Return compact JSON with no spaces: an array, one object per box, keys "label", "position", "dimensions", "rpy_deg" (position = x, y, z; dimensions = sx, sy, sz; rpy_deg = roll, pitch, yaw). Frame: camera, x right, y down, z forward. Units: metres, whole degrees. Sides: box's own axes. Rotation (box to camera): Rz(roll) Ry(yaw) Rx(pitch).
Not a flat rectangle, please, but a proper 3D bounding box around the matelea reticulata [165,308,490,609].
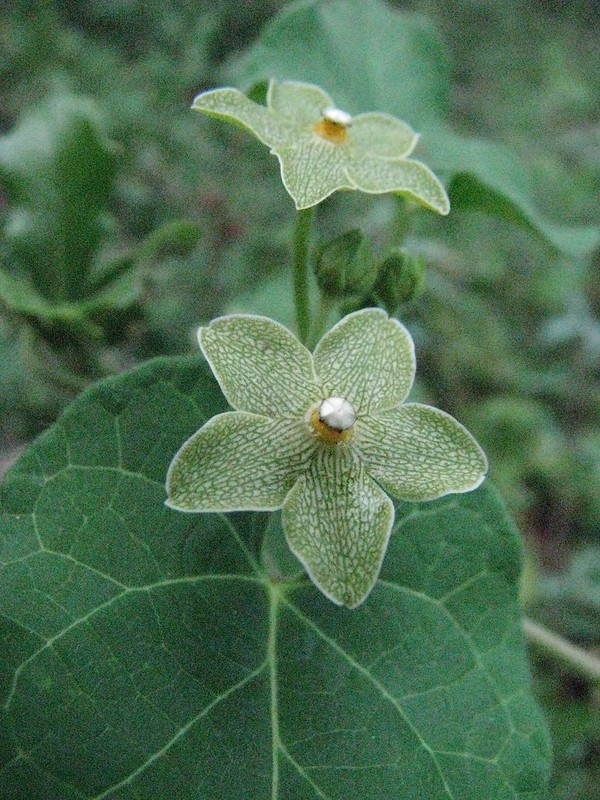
[{"label":"matelea reticulata","position":[0.019,0.036,0.715],"dimensions":[0.258,0.062,0.219],"rpy_deg":[-16,94,-20]}]
